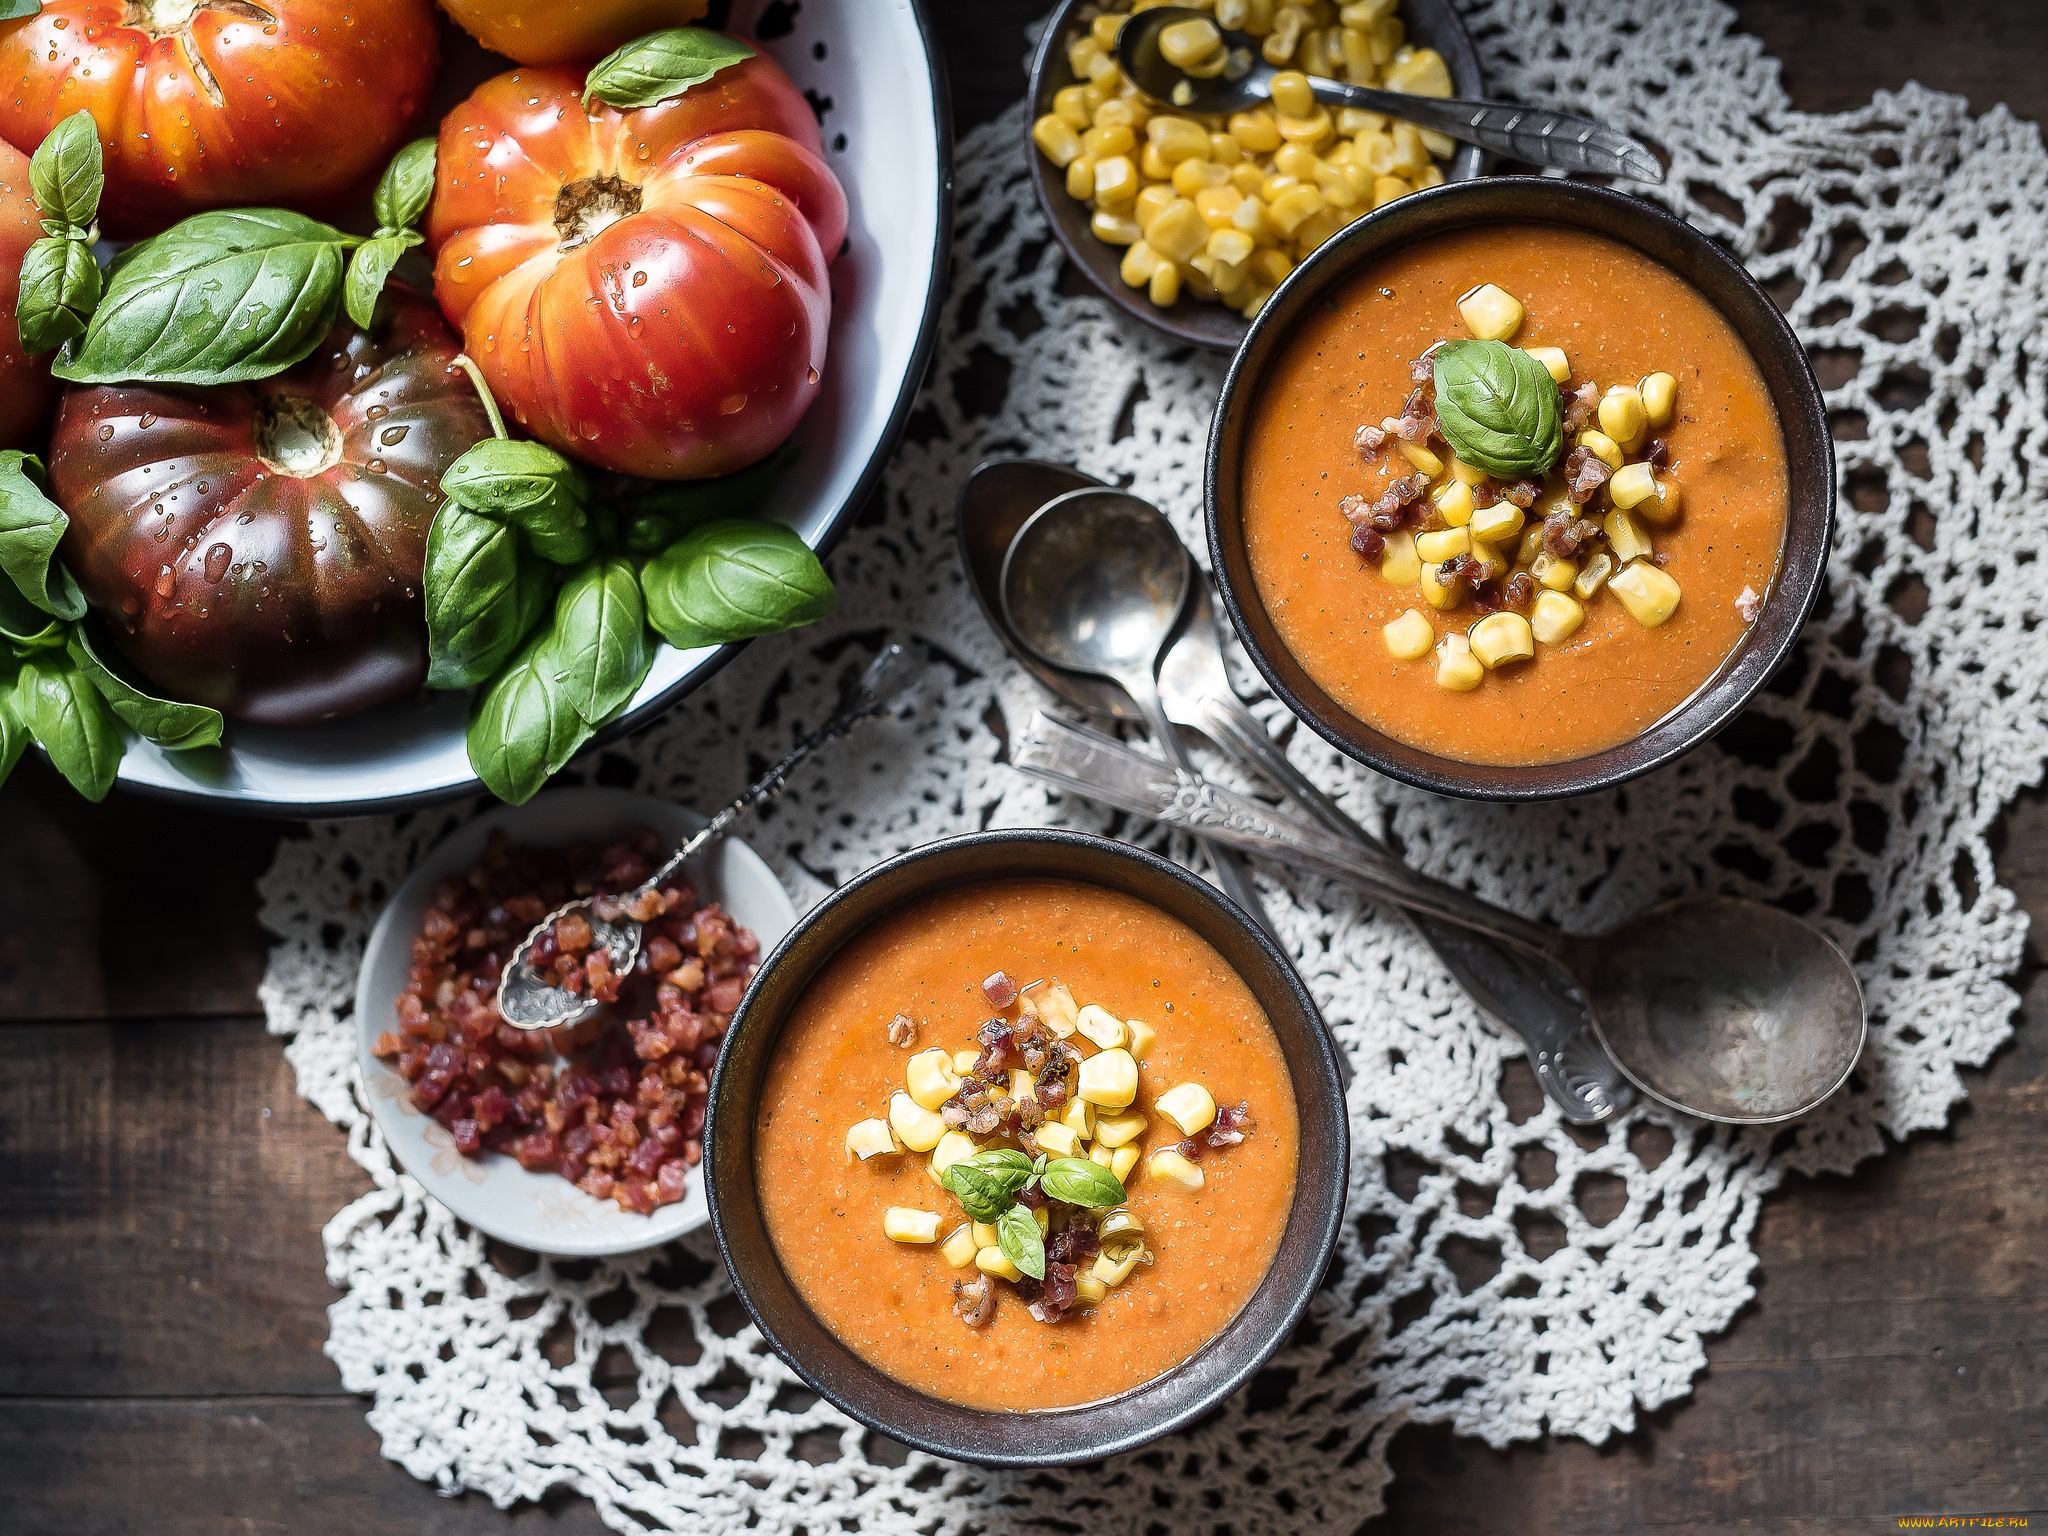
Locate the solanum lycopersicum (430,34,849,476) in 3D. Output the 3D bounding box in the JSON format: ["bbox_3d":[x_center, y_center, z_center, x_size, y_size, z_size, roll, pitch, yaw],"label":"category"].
[{"bbox_3d":[-0.525,-0.640,2.741,0.565,0.478,0.623,-20,32,-32],"label":"solanum lycopersicum"}]

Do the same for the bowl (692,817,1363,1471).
[{"bbox_3d":[-0.002,0.475,2.491,0.794,0.145,0.778,0,83,3],"label":"bowl"}]

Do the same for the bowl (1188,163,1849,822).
[{"bbox_3d":[0.609,-0.339,2.489,0.770,0.167,0.760,0,82,3],"label":"bowl"}]

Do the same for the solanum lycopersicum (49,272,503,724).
[{"bbox_3d":[-0.951,-0.315,2.564,0.560,0.169,0.453,-20,82,0],"label":"solanum lycopersicum"}]
